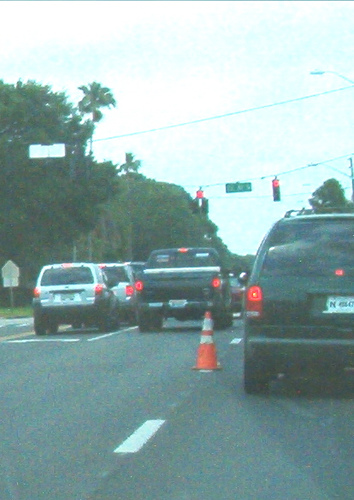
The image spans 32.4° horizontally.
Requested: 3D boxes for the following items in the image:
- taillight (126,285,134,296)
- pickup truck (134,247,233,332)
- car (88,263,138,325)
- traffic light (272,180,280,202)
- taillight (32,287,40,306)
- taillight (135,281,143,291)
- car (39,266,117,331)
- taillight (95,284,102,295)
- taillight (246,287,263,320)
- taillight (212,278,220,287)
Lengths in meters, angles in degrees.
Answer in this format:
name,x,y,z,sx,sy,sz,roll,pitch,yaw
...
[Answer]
name,x,y,z,sx,sy,sz,roll,pitch,yaw
taillight,-1.577,1.312,20.042,0.159,0.290,0.450,-4,1,29
pickup truck,0.193,0.891,17.107,2.342,1.806,4.381,-2,2,3
car,-2.077,1.031,19.393,1.202,1.099,2.442,0,-11,5
traffic light,5.769,-3.535,35.807,0.333,0.866,0.469,-4,2,7
taillight,-3.826,1.219,16.324,0.284,0.467,0.238,3,-5,-4
taillight,-0.965,0.864,15.038,0.216,0.193,0.065,-3,0,11
car,-2.771,1.235,16.261,1.408,1.013,2.213,-2,3,-5
taillight,-2.109,1.048,16.301,0.131,0.235,0.269,-4,1,21
taillight,0.759,0.526,6.093,0.106,0.231,0.209,-5,2,-29
taillight,0.945,0.792,15.074,0.193,0.178,0.059,8,-8,-34
